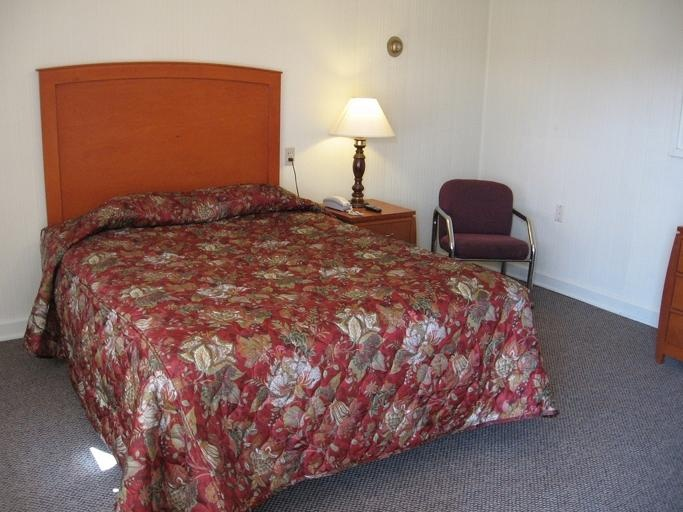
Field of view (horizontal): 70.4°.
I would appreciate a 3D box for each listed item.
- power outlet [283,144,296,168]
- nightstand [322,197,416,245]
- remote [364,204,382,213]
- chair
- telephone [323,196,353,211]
[{"bbox_3d":[-0.425,-0.823,3.917,0.159,0.218,0.035,-9,18,-38],"label":"power outlet"},{"bbox_3d":[0.287,-0.359,3.915,0.423,0.436,0.439,-13,22,-35],"label":"nightstand"},{"bbox_3d":[0.263,-0.396,3.968,0.071,0.031,0.135,-12,21,-31],"label":"remote"},{"bbox_3d":[1.141,-0.222,4.219,0.884,1.148,0.918,-1,10,-10],"label":"chair"},{"bbox_3d":[-0.035,-0.425,3.930,0.110,0.077,0.223,-13,20,-39],"label":"telephone"}]
